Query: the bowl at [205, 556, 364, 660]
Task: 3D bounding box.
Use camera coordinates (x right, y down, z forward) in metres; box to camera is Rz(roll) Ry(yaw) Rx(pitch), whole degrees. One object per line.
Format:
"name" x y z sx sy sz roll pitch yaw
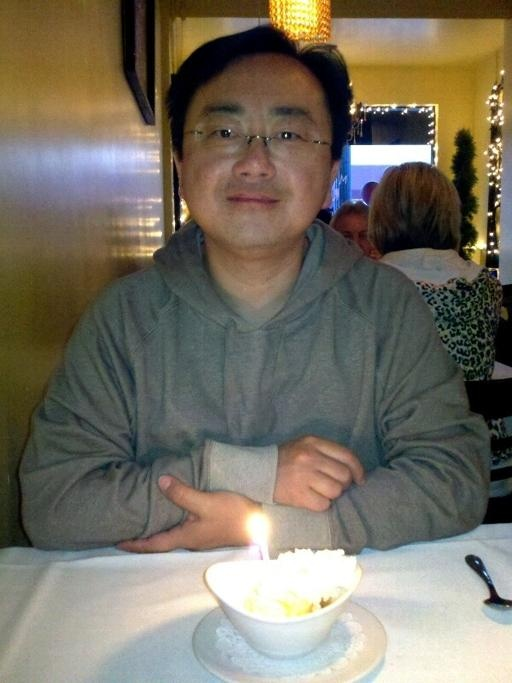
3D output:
"bowl" 0.028 0.230 0.564 0.114 0.049 0.099 -4 9 -9

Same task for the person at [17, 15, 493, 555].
"person" 0.034 -0.146 1.087 0.794 0.849 0.643 2 14 7
